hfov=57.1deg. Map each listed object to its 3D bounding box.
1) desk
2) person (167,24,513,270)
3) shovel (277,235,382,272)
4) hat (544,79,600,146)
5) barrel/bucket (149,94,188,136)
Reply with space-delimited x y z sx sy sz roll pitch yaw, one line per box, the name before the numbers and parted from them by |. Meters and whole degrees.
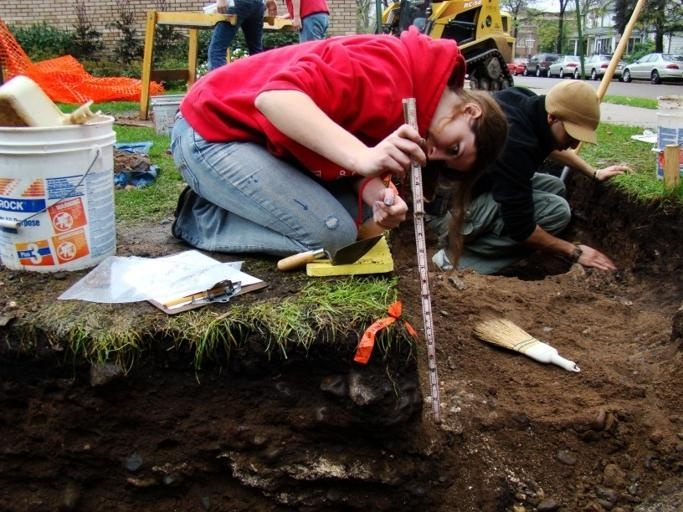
desk | -1.368 -2.561 7.570 1.796 1.685 1.534 -10 24 -31
person | -0.143 -0.552 3.355 1.891 1.252 0.769 7 23 19
shovel | -0.051 0.006 3.423 0.627 0.092 0.163 -12 -17 12
hat | 1.613 -0.989 4.390 0.378 0.434 0.297 5 23 14
barrel/bucket | -1.949 -1.501 7.162 0.741 0.307 1.004 -1 11 -4
